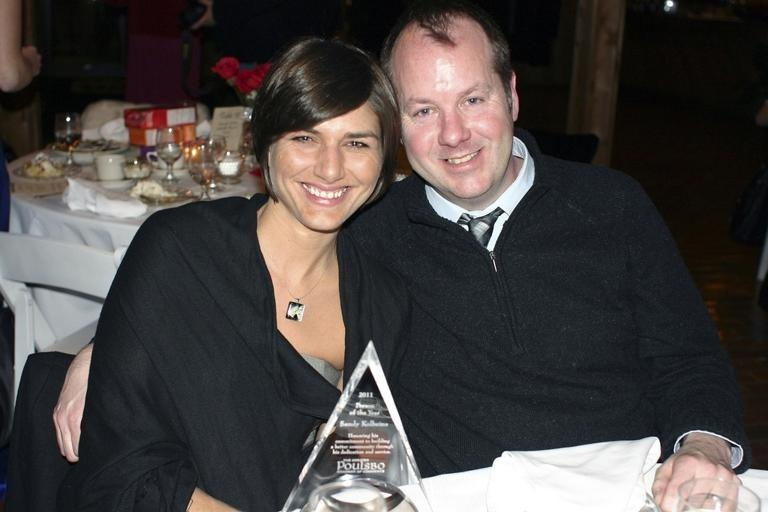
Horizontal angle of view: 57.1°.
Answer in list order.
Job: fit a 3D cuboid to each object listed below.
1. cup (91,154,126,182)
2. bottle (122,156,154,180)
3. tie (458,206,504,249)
[{"bbox_3d":[-1.494,-0.482,3.865,0.154,0.116,0.151,2,20,-1],"label":"cup"},{"bbox_3d":[-1.367,-0.478,3.935,0.125,0.091,0.117,0,26,0],"label":"bottle"},{"bbox_3d":[0.360,-0.107,2.606,0.152,0.047,0.150,6,54,-12],"label":"tie"}]
